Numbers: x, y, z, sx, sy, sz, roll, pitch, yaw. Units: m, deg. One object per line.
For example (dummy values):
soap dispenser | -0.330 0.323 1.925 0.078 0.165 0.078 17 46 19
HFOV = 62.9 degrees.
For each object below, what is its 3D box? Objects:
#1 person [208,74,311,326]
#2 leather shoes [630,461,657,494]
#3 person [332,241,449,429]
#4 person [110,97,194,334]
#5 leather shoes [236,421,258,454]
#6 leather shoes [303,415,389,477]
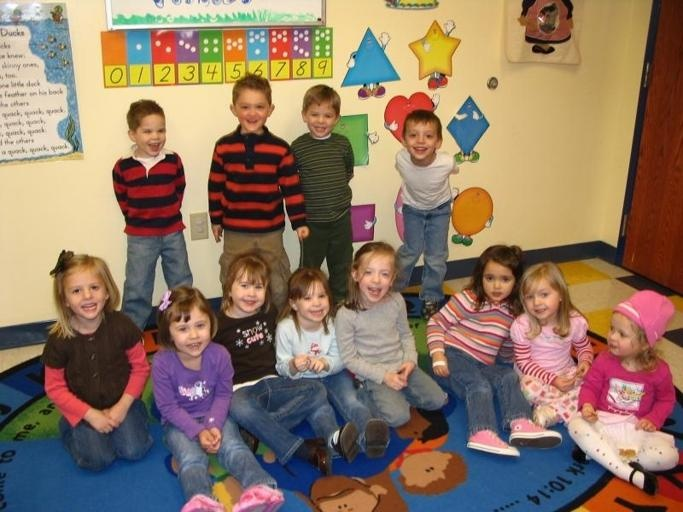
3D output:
person | -0.489 -0.263 3.268 0.540 1.558 0.277 1 28 -7
leather shoes | 1.266 0.935 2.365 0.052 0.063 0.148 -14 29 -9
person | 0.244 0.426 2.864 0.511 0.931 0.632 -19 28 -34
person | -1.097 -0.179 3.238 0.432 1.459 0.319 -11 33 -30
leather shoes | -0.421 0.829 2.526 0.074 0.126 0.048 -39 4 -19
leather shoes | 0.058 0.780 2.493 0.212 0.173 0.498 -17 -5 40
